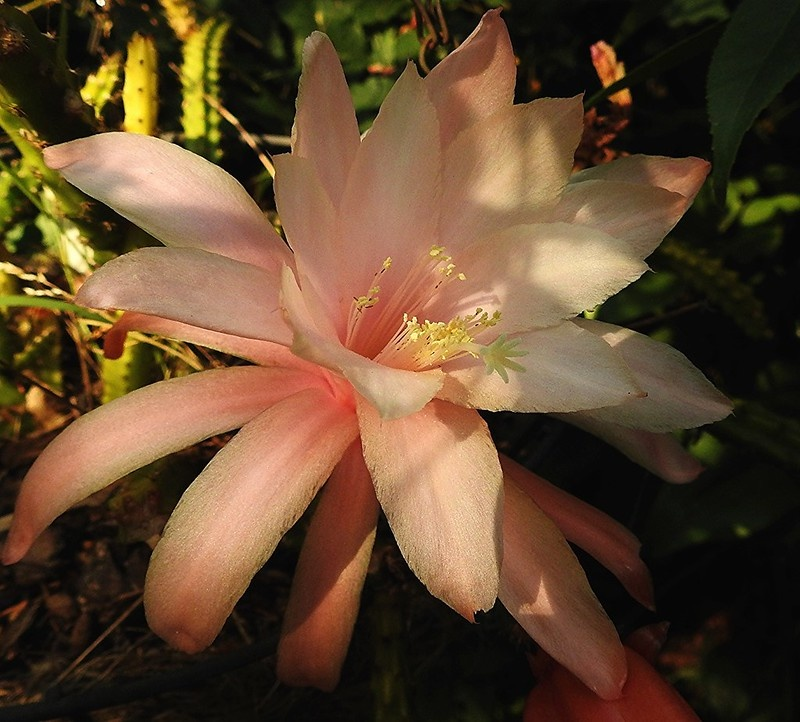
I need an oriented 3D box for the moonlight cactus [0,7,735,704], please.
[{"bbox_3d":[-0.022,-0.021,0.998,0.905,0.335,0.801,13,67,-3],"label":"moonlight cactus"}]
